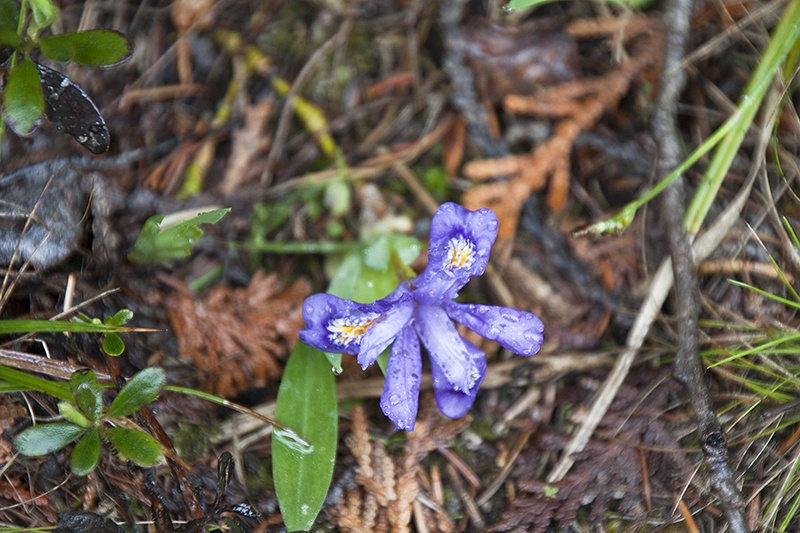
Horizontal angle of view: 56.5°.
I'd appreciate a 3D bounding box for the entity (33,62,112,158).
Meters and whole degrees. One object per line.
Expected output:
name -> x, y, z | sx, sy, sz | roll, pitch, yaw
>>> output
entity -> -1.603, -0.711, 3.699 | 0.264, 0.746, 0.094 | -12, 70, -7
